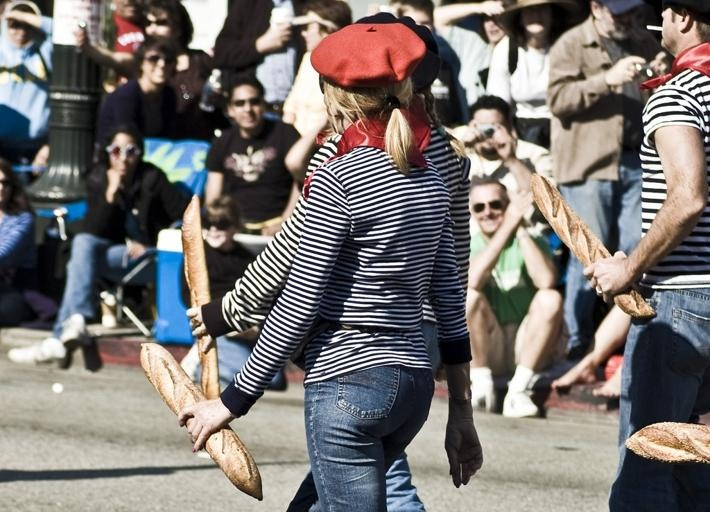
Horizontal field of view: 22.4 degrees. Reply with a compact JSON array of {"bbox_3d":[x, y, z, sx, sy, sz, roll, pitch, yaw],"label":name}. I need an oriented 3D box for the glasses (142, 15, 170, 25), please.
[{"bbox_3d":[-1.329,-1.564,12.055,0.128,0.034,0.095,1,-2,16],"label":"glasses"}]

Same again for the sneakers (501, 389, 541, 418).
[{"bbox_3d":[1.270,1.134,13.615,0.286,0.203,0.132,6,0,-6],"label":"sneakers"}]

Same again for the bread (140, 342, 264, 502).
[{"bbox_3d":[-0.950,1.078,11.202,1.314,0.226,0.302,47,30,22],"label":"bread"}]

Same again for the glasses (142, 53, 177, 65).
[{"bbox_3d":[-1.332,-1.342,12.364,0.178,0.073,0.131,2,5,1],"label":"glasses"}]
